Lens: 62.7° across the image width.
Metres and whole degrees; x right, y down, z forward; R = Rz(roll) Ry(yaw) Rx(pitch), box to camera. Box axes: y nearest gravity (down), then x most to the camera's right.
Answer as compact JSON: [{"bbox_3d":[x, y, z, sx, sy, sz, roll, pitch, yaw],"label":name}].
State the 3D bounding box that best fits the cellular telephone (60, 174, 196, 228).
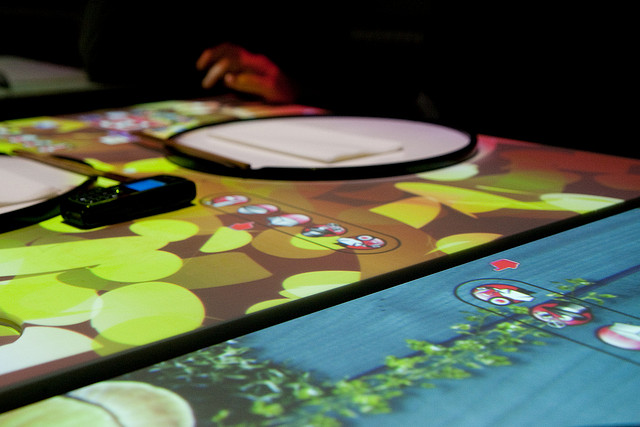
[{"bbox_3d":[-0.301,-0.028,0.853,0.177,0.031,0.062,-17,40,-17],"label":"cellular telephone"}]
